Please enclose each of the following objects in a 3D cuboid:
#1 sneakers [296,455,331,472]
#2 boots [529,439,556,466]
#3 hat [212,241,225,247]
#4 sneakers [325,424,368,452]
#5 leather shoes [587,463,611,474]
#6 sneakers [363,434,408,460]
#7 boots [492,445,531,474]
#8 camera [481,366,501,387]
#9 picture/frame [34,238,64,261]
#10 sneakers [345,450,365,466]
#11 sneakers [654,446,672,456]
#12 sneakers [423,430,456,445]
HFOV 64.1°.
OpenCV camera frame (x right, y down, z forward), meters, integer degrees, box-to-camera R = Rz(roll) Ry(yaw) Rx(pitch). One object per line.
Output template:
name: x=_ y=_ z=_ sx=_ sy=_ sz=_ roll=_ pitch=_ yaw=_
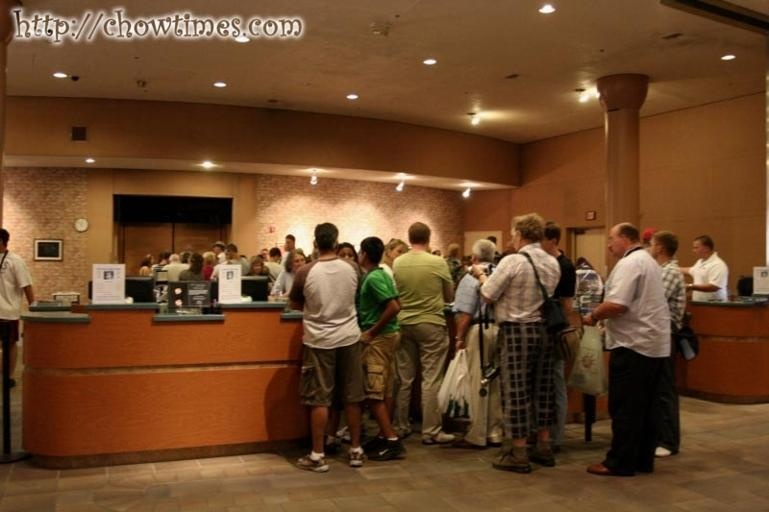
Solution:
sneakers: x=-0.729 y=2.059 z=6.145 sx=0.341 sy=0.136 sz=0.135 roll=4 pitch=-2 yaw=19
boots: x=1.590 y=2.006 z=6.289 sx=0.163 sy=0.208 sz=0.350 roll=-1 pitch=3 yaw=-17
hat: x=-3.511 y=-0.251 z=12.933 sx=0.171 sy=0.173 sz=0.196 roll=4 pitch=-3 yaw=-12
sneakers: x=-0.461 y=2.026 z=6.800 sx=0.185 sy=0.209 sz=0.524 roll=-10 pitch=-18 yaw=12
leather shoes: x=2.066 y=2.066 z=6.004 sx=0.174 sy=0.060 sz=0.094 roll=1 pitch=-4 yaw=25
sneakers: x=-0.008 y=1.984 z=6.375 sx=0.372 sy=0.132 sz=0.221 roll=0 pitch=21 yaw=-6
boots: x=1.250 y=2.014 z=6.161 sx=0.418 sy=0.251 sz=0.202 roll=2 pitch=-3 yaw=41
camera: x=1.054 y=1.285 z=6.541 sx=0.165 sy=0.096 sz=0.395 roll=-4 pitch=-19 yaw=-29
picture/frame: x=-7.410 y=-0.133 z=13.516 sx=0.583 sy=0.429 sz=0.059 roll=0 pitch=-4 yaw=-10
sneakers: x=-0.310 y=2.027 z=6.221 sx=0.100 sy=0.102 sz=0.243 roll=-1 pitch=-1 yaw=6
sneakers: x=2.916 y=2.051 z=6.453 sx=0.230 sy=0.087 sz=0.084 roll=5 pitch=-10 yaw=-9
sneakers: x=0.568 y=2.010 z=6.839 sx=0.378 sy=0.144 sz=0.135 roll=-2 pitch=-3 yaw=-1
